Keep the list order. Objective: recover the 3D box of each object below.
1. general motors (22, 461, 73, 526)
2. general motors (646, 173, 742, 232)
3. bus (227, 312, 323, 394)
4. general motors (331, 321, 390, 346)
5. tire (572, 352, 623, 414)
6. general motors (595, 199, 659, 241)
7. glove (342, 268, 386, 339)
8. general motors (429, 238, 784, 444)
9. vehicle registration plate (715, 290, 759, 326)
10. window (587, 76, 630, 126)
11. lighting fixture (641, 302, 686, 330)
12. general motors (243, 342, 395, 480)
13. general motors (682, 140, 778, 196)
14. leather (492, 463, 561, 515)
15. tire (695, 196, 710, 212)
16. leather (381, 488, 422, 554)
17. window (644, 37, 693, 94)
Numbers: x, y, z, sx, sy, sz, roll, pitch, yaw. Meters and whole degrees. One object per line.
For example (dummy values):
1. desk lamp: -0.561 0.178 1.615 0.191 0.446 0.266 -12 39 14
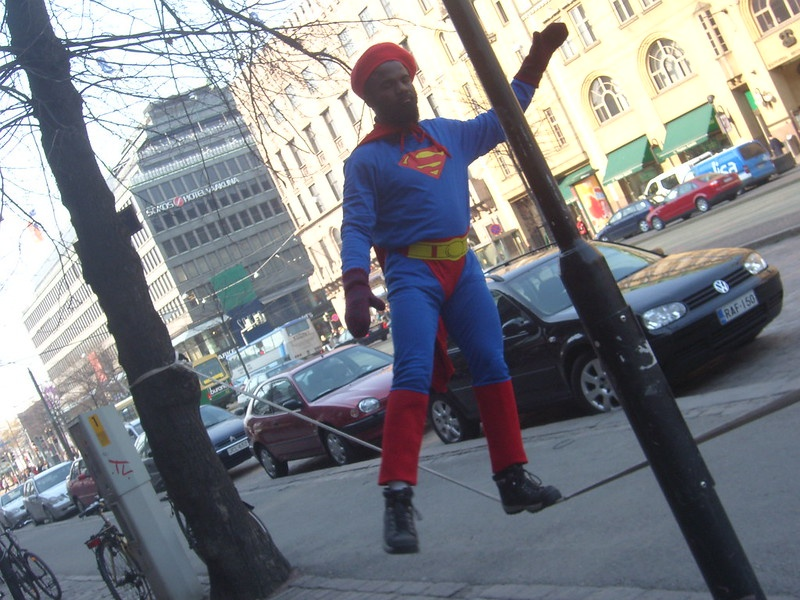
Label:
1. general motors: -13.915 7.753 25.604 2.139 1.616 4.655 -6 -12 -34
2. general motors: 13.202 -4.573 29.608 1.668 1.522 3.982 -22 0 -34
3. bus: -10.443 4.471 51.457 3.054 3.720 10.871 -27 3 -43
4. general motors: -2.204 2.493 39.219 3.483 1.877 2.209 0 1 18
5. tire: 1.991 0.858 6.639 0.203 0.641 0.429 -19 -1 -26
6. general motors: 11.801 -3.870 33.056 1.911 1.765 3.584 -1 -13 -40
7. glove: -0.163 0.015 2.798 0.083 0.300 0.190 -8 -24 5
8. general motors: 1.890 0.710 7.792 4.535 1.689 2.086 -27 -14 41
9. vehicle registration plate: 3.431 0.078 6.508 0.557 0.299 0.029 -21 1 -21
10. window: 11.815 -11.265 35.967 0.185 2.602 2.175 -31 -4 -42
11. lighting fixture: 2.636 0.151 6.375 0.458 0.265 0.119 -21 0 -19
12. general motors: -1.215 1.846 10.972 1.874 1.534 3.077 0 -10 -40
13. general motors: 14.770 -5.899 29.007 1.897 1.691 3.340 -11 10 -27
14. leather: 0.605 0.904 3.067 0.105 0.221 0.323 3 -21 -43
15. tire: 13.218 -4.189 27.930 0.295 0.804 0.761 1 -4 -24
16. leather: -0.004 0.966 2.862 0.158 0.235 0.466 1 -1 -5
17. window: 13.979 -12.192 33.100 0.152 2.643 2.226 -23 -11 -47
